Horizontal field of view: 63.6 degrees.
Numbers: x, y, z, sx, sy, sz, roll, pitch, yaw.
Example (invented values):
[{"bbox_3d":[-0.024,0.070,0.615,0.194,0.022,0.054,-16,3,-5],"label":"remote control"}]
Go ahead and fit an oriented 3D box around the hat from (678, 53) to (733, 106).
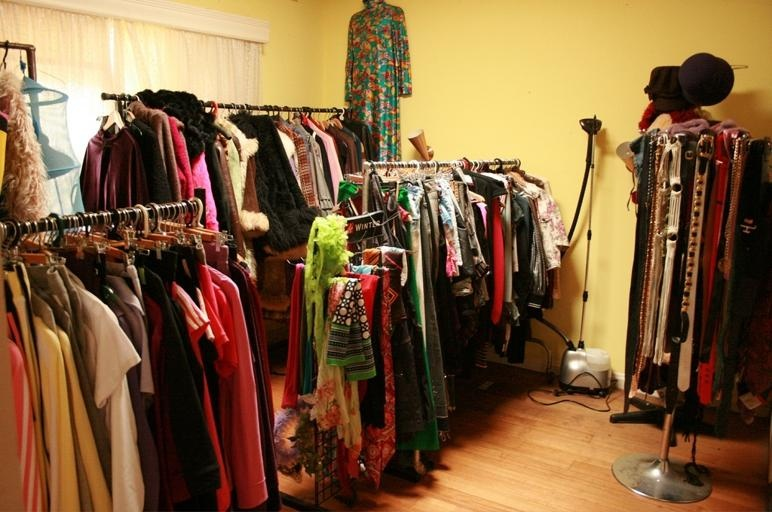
[{"bbox_3d":[1.992,-1.102,3.929,0.323,0.296,0.173,37,17,27],"label":"hat"}]
